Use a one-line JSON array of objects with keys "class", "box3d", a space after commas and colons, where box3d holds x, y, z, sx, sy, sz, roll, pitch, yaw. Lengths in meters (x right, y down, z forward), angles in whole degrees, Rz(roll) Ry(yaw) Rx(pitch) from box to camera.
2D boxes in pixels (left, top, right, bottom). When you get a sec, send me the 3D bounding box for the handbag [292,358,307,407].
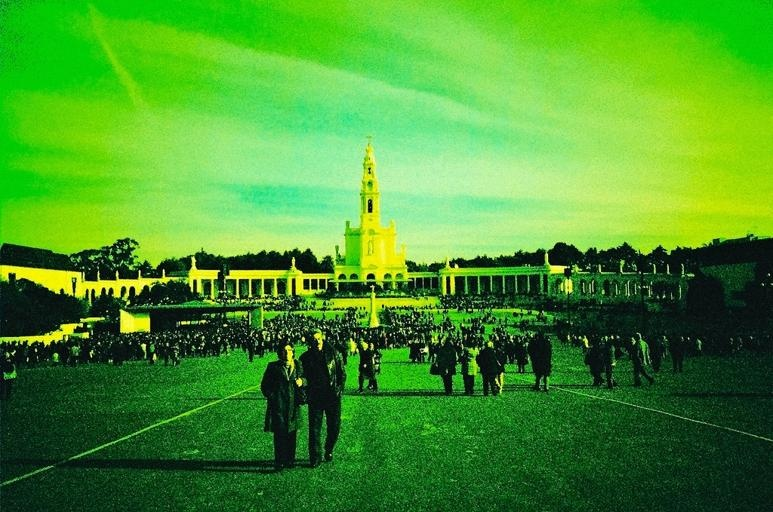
[{"class": "handbag", "box3d": [-3.309, 4.801, 35.480, 0.476, 1.393, 1.009, 3, 1, 5]}]
